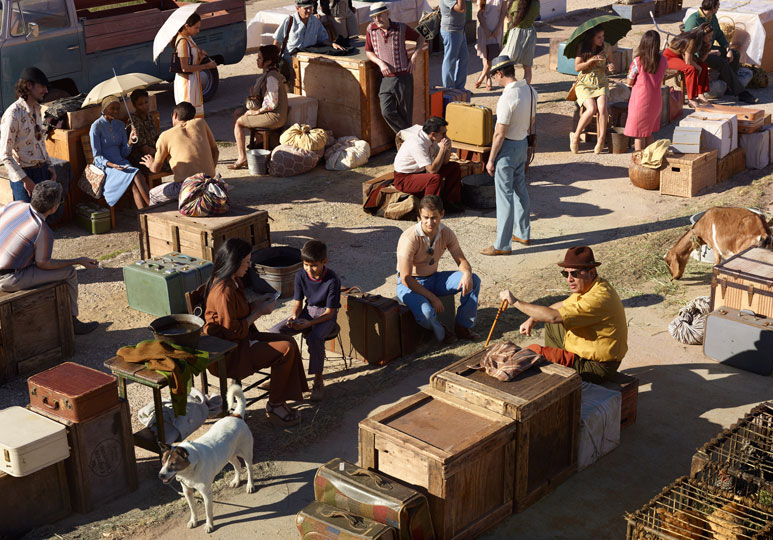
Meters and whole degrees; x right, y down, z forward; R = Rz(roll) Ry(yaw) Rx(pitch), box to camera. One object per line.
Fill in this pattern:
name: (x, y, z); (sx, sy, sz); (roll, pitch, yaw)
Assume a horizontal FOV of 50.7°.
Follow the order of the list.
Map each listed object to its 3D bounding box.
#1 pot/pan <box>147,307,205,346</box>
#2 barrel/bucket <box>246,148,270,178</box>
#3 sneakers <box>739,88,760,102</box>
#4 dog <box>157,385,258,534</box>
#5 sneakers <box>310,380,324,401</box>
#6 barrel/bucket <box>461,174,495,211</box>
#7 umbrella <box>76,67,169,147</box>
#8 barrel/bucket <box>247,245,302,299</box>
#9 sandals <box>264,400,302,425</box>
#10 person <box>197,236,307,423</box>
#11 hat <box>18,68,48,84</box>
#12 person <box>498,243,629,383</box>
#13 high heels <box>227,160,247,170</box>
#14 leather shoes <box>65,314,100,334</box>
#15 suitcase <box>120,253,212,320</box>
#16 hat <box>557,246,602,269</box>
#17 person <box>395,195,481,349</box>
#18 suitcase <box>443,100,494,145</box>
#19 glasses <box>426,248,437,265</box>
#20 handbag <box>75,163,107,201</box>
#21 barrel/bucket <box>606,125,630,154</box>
pot/pan: (-2.112, 0.636, 8.227); (0.513, 0.284, 0.419); (-3, 16, -2)
barrel/bucket: (-2.236, -1.924, 14.551); (0.400, 0.405, 0.449); (8, 22, 12)
sneakers: (7.783, -3.744, 17.573); (0.399, 0.174, 0.298); (23, -18, 28)
dog: (-1.610, 1.810, 7.682); (0.561, 0.986, 1.186); (3, 16, 18)
sneakers: (-0.772, 1.354, 9.077); (0.133, 0.182, 0.139); (-4, 16, -4)
barrel/bucket: (1.512, -1.260, 13.427); (0.502, 0.385, 0.598); (-1, 18, 2)
umbrella: (-4.146, -2.696, 12.989); (0.933, 0.808, 0.940); (3, 29, 33)
barrel/bucket: (-1.411, -0.049, 10.848); (0.748, 0.522, 0.637); (17, 30, 29)
sandals: (-1.108, 1.508, 8.770); (0.349, 0.149, 0.197); (9, 37, 17)
person: (-1.442, 0.695, 8.809); (1.141, 2.041, 0.845); (-7, 14, -22)
hat: (-4.835, -2.685, 11.238); (0.321, 0.174, 0.231); (-11, 19, -40)
person: (1.927, 0.439, 8.476); (0.966, 1.342, 0.732); (11, 21, 40)
high heels: (-2.713, -1.897, 14.742); (0.327, 0.137, 0.178); (6, 33, 12)
leather shoes: (-3.798, 0.693, 10.240); (0.360, 0.165, 0.131); (-3, 28, -11)
suitcase: (-2.798, 0.157, 10.498); (0.875, 0.659, 0.865); (19, 28, 34)
hat: (2.016, -0.115, 8.380); (0.284, 0.133, 0.338); (3, 5, 36)
person: (0.611, -0.002, 9.762); (0.972, 1.796, 0.584); (-4, 16, -5)
suitcase: (1.260, -2.494, 14.014); (0.807, 0.693, 0.268); (2, 4, -27)
glasses: (0.528, -0.170, 9.757); (0.090, 0.174, 0.126); (20, 32, 34)
handbag: (-4.584, -1.396, 12.692); (0.419, 0.432, 0.188); (33, 23, 21)
barrel/bucket: (4.294, -2.404, 15.085); (0.406, 0.377, 0.467); (-3, 19, -2)
